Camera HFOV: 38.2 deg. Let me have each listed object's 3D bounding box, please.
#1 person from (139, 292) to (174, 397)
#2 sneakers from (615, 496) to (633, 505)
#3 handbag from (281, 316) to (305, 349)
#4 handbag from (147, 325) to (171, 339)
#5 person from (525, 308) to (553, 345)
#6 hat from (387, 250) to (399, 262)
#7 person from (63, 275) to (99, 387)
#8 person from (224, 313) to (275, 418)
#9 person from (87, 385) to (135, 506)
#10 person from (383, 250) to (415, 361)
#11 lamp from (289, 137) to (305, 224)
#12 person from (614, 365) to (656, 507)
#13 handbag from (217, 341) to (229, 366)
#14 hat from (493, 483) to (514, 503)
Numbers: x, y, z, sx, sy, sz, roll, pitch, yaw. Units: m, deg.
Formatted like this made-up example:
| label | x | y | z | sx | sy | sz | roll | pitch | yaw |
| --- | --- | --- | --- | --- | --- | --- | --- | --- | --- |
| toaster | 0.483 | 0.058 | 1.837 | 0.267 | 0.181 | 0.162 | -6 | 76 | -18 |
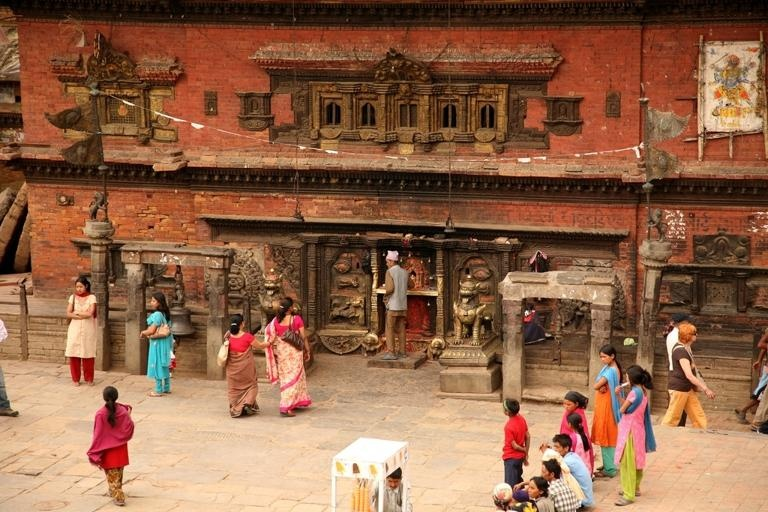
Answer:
| label | x | y | z | sx | sy | sz | roll | pitch | yaw |
| --- | --- | --- | --- | --- | --- | --- | --- | --- | --- |
| person | -4.686 | 1.809 | 22.980 | 0.624 | 2.132 | 0.834 | 2 | -2 | -12 |
| sneakers | 3.935 | 4.007 | 18.186 | 0.266 | 0.095 | 0.120 | 1 | -2 | 2 |
| handbag | -1.819 | 1.531 | 22.030 | 0.163 | 0.502 | 0.498 | -21 | -43 | 32 |
| handbag | -4.604 | 1.534 | 22.700 | 0.318 | 0.245 | 0.118 | -1 | 6 | 2 |
| person | 3.405 | 1.534 | 24.640 | 0.504 | 0.803 | 1.015 | 1 | -2 | 20 |
| hat | 0.168 | -0.016 | 24.848 | 0.284 | 0.199 | 0.207 | -1 | 0 | 36 |
| person | -6.387 | 1.583 | 23.455 | 0.591 | 2.286 | 0.548 | 1 | -2 | 0 |
| person | -2.806 | 2.162 | 21.937 | 0.772 | 2.013 | 0.412 | 3 | -3 | -34 |
| person | -4.551 | 3.158 | 18.536 | 0.670 | 2.011 | 0.762 | 1 | -2 | 21 |
| person | 0.289 | 1.079 | 25.065 | 0.528 | 2.440 | 0.906 | 1 | -2 | 1 |
| lamp | -1.983 | -1.904 | 26.220 | 0.276 | 2.156 | 0.683 | 2 | -2 | -5 |
| person | 4.128 | 2.939 | 18.290 | 0.560 | 2.288 | 0.650 | 1 | -2 | 18 |
| handbag | -3.144 | 1.888 | 21.811 | 0.188 | 0.513 | 0.273 | 2 | -2 | -11 |
| hat | 1.761 | 3.462 | 16.415 | 0.243 | 0.221 | 0.284 | 2 | 24 | 10 |
